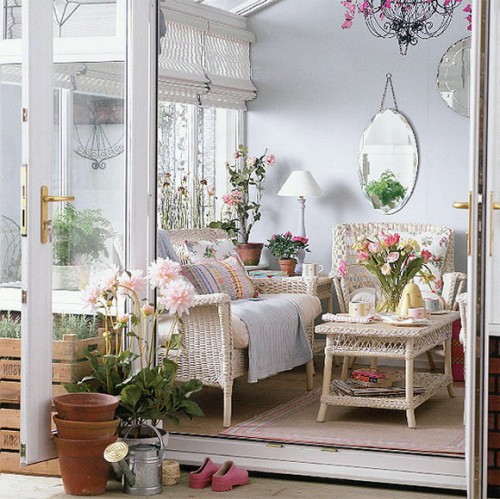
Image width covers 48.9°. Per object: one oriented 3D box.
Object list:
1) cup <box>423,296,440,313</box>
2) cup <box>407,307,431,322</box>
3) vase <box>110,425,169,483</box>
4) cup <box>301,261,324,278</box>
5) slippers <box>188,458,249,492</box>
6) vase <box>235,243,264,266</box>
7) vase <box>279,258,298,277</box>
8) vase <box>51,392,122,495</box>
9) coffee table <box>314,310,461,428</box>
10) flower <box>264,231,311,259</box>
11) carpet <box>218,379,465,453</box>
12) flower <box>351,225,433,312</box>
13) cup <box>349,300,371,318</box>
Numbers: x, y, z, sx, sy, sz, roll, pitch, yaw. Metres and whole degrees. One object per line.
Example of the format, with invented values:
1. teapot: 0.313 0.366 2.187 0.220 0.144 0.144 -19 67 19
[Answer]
1. cup: 1.215 0.377 3.681 0.121 0.073 0.090 0 2 40
2. cup: 1.014 0.388 3.267 0.121 0.070 0.081 0 -4 -6
3. vase: -0.447 0.859 2.425 0.287 0.257 0.285 -1 -7 6
4. cup: 0.553 0.183 4.679 0.200 0.111 0.118 3 -4 -26
5. slippers: -0.116 0.952 2.379 0.138 0.058 0.180 0 0 30
6. vase: 0.004 0.046 5.248 0.251 0.152 0.219 -1 -4 1
7. vase: 0.357 0.158 5.025 0.168 0.122 0.158 2 0 2
8. vase: -0.668 0.802 2.237 0.259 0.404 0.204 -1 1 -3
9. coffee table: 0.814 0.605 3.303 0.684 0.511 1.193 0 0 27
10. flower: 0.369 -0.037 5.195 0.342 0.190 0.304 1 -1 -3
11. carpet: 0.622 0.975 3.254 1.219 0.145 1.393 0 1 20
12. flower: 0.928 0.133 3.790 0.636 0.528 0.538 1 -2 -21
13. cup: 0.677 0.362 3.355 0.109 0.065 0.098 1 0 -9
